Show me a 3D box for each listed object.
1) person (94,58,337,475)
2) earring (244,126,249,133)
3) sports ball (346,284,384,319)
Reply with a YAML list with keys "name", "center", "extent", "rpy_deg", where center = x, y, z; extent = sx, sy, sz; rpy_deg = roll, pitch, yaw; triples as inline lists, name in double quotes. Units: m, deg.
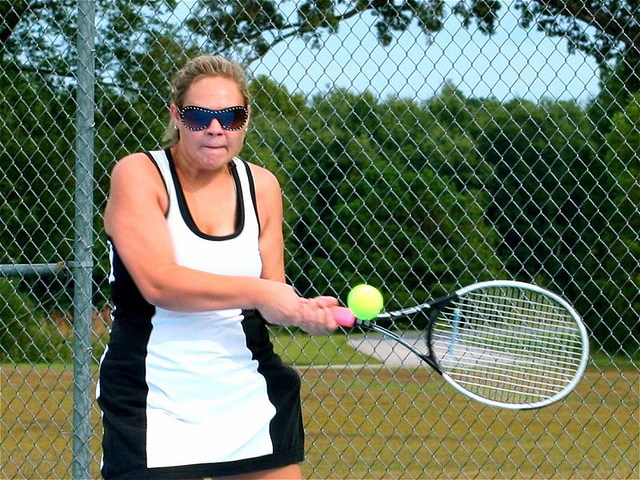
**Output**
- name: "person"
  center: [-0.708, 0.179, 7.080]
  extent: [1.295, 2.639, 0.384]
  rpy_deg: [3, 2, -11]
- name: "earring"
  center: [-0.482, -0.723, 7.246]
  extent: [0.012, 0.054, 0.053]
  rpy_deg: [-2, -4, 39]
- name: "sports ball"
  center: [0.289, 0.406, 7.384]
  extent: [0.214, 0.266, 0.214]
  rpy_deg: [-4, 0, 0]
